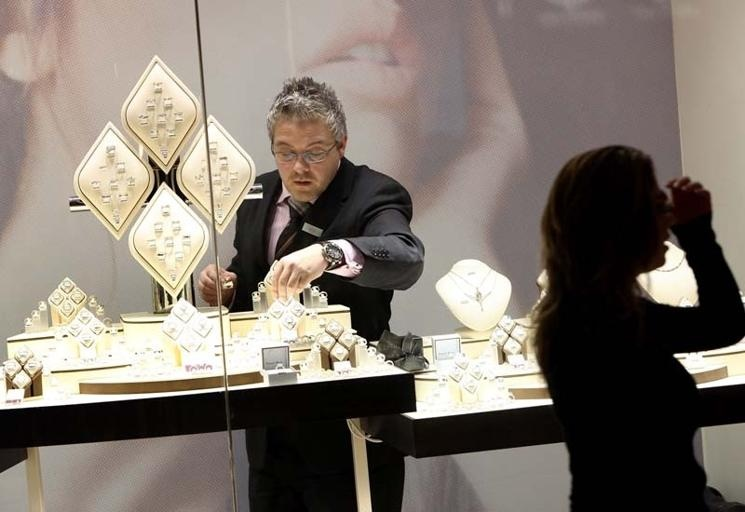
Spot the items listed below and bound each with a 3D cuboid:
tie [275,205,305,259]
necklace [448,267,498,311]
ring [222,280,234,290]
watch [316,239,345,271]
[{"bbox_3d":[-0.192,-0.059,1.749,0.079,0.111,0.039,12,0,12],"label":"tie"},{"bbox_3d":[0.229,0.070,1.618,0.074,0.086,0.039,-7,3,18],"label":"necklace"},{"bbox_3d":[-0.355,0.073,1.797,0.026,0.019,0.009,0,-4,-39],"label":"ring"},{"bbox_3d":[-0.093,-0.004,1.785,0.044,0.073,0.067,-21,3,-42],"label":"watch"}]
